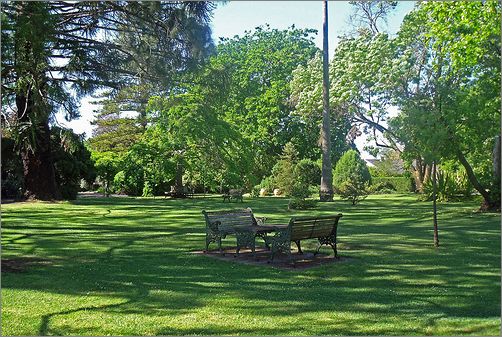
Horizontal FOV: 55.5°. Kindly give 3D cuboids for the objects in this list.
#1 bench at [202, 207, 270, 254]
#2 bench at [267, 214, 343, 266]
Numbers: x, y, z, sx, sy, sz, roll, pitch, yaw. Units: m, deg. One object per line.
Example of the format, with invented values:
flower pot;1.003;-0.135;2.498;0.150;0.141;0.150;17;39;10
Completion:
bench;-0.450;1.931;15.172;1.046;1.242;2.548;3;0;33
bench;1.613;2.003;13.781;1.090;1.297;2.351;-4;-4;45
